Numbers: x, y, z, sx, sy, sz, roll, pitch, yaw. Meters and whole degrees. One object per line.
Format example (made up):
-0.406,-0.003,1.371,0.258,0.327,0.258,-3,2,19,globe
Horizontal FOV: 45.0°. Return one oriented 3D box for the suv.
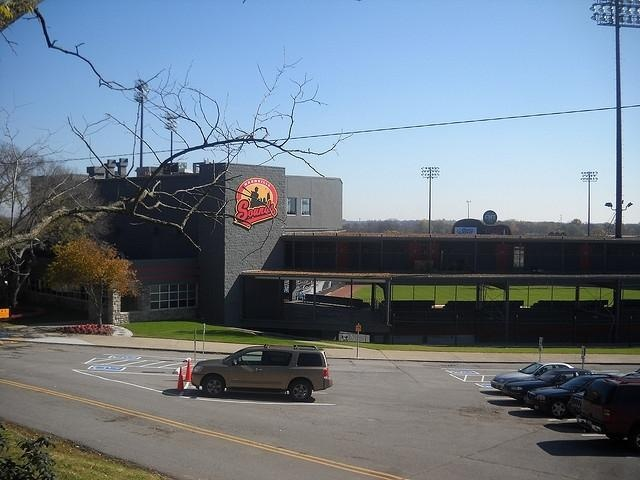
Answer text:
-2.854,6.808,39.661,6.477,2.392,2.911,4,-5,2,suv
